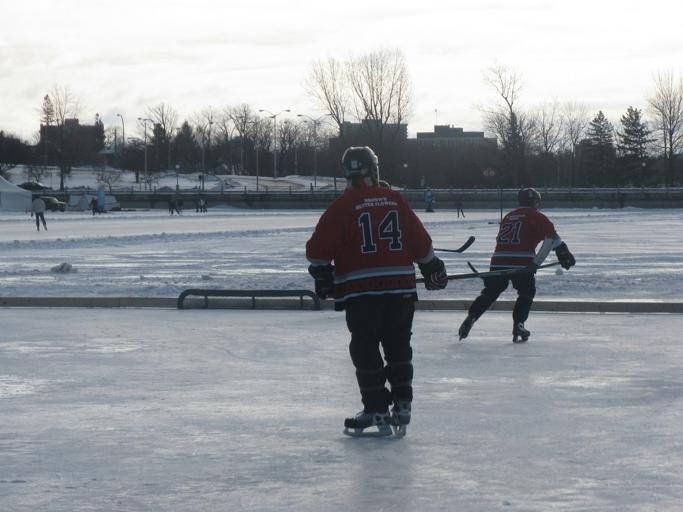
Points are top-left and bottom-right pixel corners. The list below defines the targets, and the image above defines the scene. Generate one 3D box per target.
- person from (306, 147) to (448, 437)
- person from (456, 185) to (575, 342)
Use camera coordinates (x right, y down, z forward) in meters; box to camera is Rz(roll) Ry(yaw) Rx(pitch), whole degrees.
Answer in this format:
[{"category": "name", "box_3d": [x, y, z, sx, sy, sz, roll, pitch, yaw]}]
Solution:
[{"category": "person", "box_3d": [0.381, 0.455, 18.967, 1.530, 3.384, 0.997, -2, 13, -1]}, {"category": "person", "box_3d": [2.536, 0.052, 22.854, 1.484, 2.403, 0.898, 0, 0, -14]}]
